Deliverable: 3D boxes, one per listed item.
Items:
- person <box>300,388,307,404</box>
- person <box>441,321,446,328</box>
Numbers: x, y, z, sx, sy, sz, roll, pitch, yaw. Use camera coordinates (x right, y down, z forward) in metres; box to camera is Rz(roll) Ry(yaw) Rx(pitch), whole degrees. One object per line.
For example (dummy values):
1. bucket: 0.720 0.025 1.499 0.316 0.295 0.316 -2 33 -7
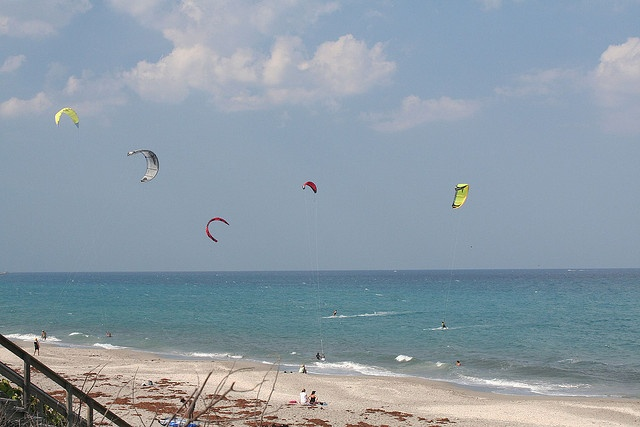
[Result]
1. person: -1.352 14.439 57.114 0.639 1.343 0.684 10 -29 0
2. person: 15.236 13.881 90.010 0.675 0.904 0.792 1 -3 -9
